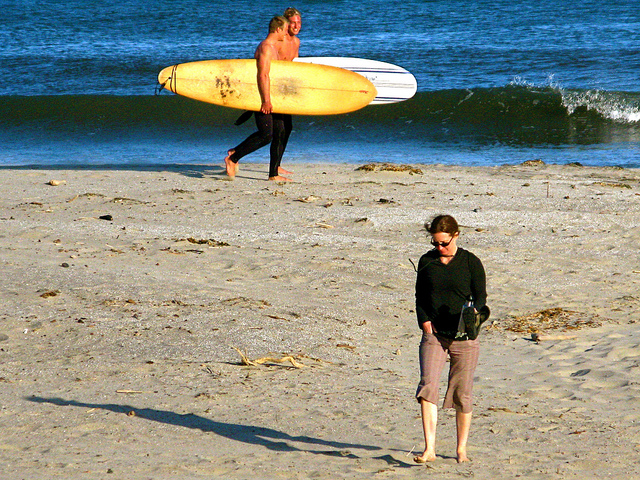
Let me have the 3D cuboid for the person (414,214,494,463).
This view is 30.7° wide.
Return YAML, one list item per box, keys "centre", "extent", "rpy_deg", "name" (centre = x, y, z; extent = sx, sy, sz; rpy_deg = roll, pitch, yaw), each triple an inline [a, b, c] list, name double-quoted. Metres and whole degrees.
- centre: [1.510, 1.134, 13.643]
  extent: [0.871, 2.865, 0.922]
  rpy_deg: [5, 13, -3]
  name: "person"
